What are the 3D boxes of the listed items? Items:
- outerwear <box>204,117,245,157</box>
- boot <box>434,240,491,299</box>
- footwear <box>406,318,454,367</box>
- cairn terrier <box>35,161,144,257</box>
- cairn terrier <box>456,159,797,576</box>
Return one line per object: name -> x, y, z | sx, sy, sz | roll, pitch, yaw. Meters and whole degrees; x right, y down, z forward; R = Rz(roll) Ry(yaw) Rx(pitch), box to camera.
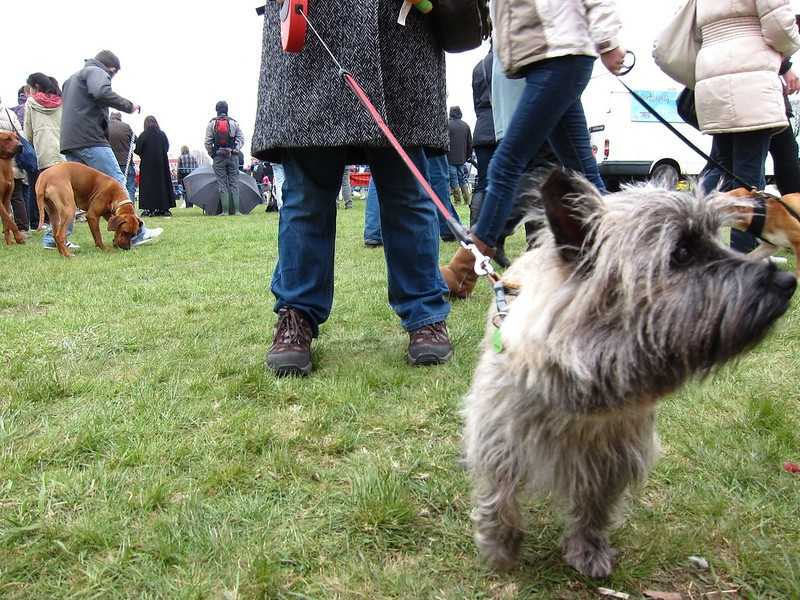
outerwear -> -4.316, -3.983, 15.024 | 0.884, 0.913, 0.590 | -8, 13, -15
boot -> 0.470, -0.222, 4.837 | 0.464, 0.459, 0.217 | 30, 51, 9
footwear -> 0.167, 0.253, 3.677 | 0.215, 0.276, 0.583 | -4, -3, 2
cairn terrier -> -4.521, -1.151, 8.892 | 1.203, 1.541, 1.215 | 17, 23, 39
cairn terrier -> 0.459, 0.249, 2.481 | 1.001, 1.532, 1.412 | 5, 14, 4
